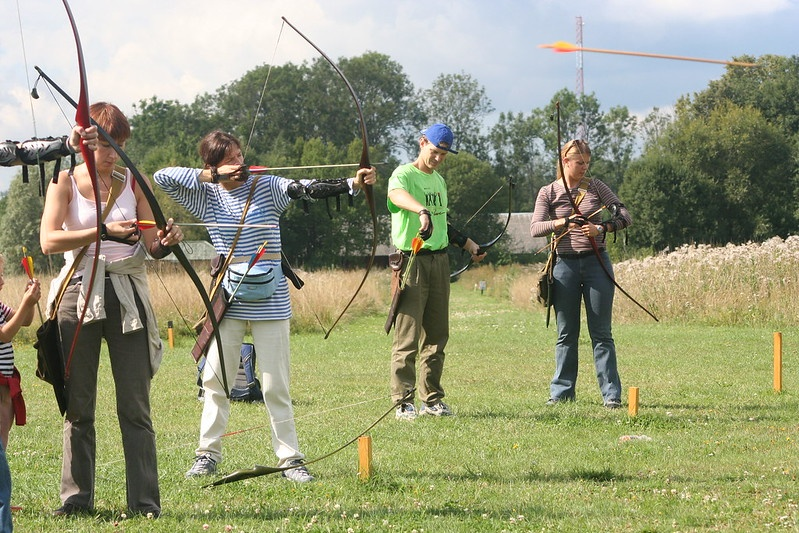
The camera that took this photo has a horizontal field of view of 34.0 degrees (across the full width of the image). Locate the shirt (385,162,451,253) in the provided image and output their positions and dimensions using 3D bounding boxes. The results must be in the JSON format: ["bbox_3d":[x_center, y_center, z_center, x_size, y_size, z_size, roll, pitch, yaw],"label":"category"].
[{"bbox_3d":[0.294,-0.800,17.970,0.882,1.193,0.658,-2,12,-9],"label":"shirt"}]
